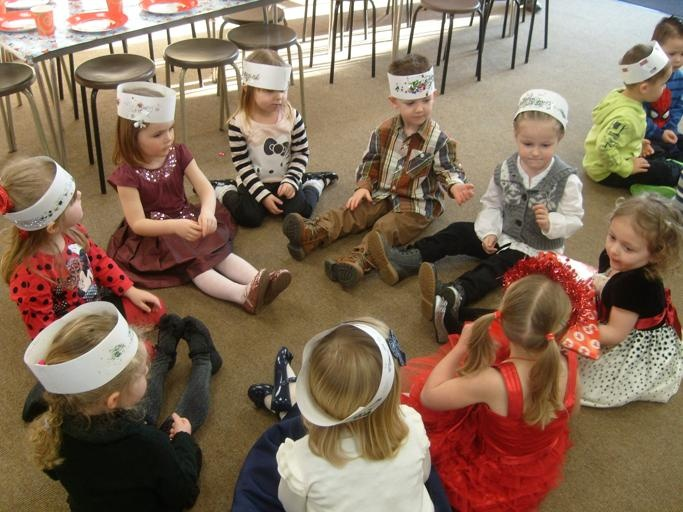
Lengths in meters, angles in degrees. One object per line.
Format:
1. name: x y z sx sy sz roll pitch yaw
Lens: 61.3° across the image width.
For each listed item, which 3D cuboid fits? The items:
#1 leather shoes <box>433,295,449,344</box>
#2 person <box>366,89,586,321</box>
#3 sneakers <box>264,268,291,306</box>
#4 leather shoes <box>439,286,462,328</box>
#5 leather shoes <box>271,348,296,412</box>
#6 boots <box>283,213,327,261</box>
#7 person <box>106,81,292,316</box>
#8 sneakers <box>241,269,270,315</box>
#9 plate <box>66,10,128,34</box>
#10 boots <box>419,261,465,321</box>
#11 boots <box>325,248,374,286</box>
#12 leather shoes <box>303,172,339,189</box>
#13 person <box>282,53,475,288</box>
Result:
1. leather shoes: 0.388 0.247 2.257 0.056 0.178 0.067 -1 3 -38
2. person: 0.575 -0.199 2.520 0.942 0.903 0.550 -24 44 -13
3. sneakers: -0.254 0.109 2.359 0.069 0.172 0.071 22 20 -39
4. leather shoes: 0.446 0.200 2.302 0.066 0.078 0.185 -6 63 39
5. leather shoes: -0.210 0.449 2.086 0.070 0.093 0.235 7 52 -12
6. boots: -0.178 -0.082 2.650 0.140 0.305 0.108 -19 66 -28
7. person: -0.619 -0.223 2.561 0.823 0.823 0.571 35 46 17
8. sneakers: -0.343 0.150 2.368 0.090 0.221 0.074 18 23 20
9. plate: -1.209 -1.151 2.856 0.207 0.023 0.209 4 39 0
10. boots: 0.396 0.142 2.281 0.139 0.311 0.103 1 -6 -17
11. boots: 0.062 0.022 2.604 0.171 0.133 0.305 8 21 30
12. leather shoes: -0.113 -0.394 3.020 0.159 0.075 0.037 -12 44 -17
13. person: 0.183 -0.400 2.901 0.838 0.955 0.939 28 50 24
